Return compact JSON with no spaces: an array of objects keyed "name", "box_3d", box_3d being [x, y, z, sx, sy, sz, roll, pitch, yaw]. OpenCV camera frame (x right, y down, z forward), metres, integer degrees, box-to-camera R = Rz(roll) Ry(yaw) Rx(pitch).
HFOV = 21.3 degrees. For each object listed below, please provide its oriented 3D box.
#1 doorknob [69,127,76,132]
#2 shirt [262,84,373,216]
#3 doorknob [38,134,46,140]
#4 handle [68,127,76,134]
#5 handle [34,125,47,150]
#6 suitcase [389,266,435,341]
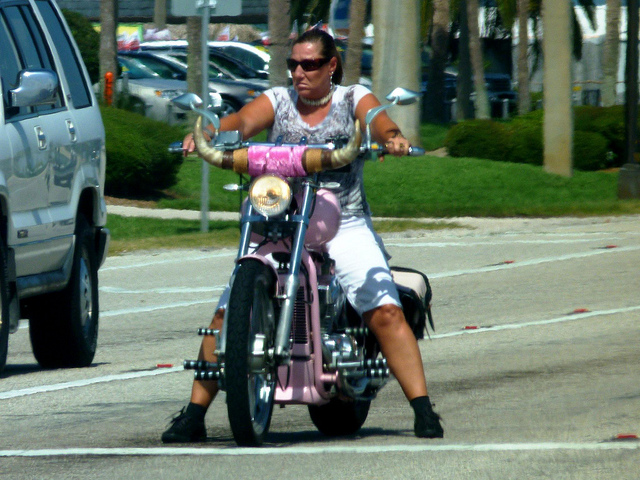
[{"name":"doorknob","box_3d":[-2.431,-1.130,16.860,0.055,0.035,0.040,-4,-5,-27]},{"name":"shirt","box_3d":[-0.067,-0.985,15.137,1.256,1.548,0.861,0,51,-9]},{"name":"doorknob","box_3d":[-2.652,-1.024,16.381,0.071,0.058,0.041,2,-12,-18]},{"name":"handle","box_3d":[-2.429,-1.120,16.861,0.044,0.046,0.047,-1,-13,-14]},{"name":"handle","box_3d":[-2.669,-1.017,16.382,0.069,0.225,0.137,3,12,22]},{"name":"suitcase","box_3d":[0.973,0.500,15.124,0.345,0.698,0.711,2,9,18]}]
